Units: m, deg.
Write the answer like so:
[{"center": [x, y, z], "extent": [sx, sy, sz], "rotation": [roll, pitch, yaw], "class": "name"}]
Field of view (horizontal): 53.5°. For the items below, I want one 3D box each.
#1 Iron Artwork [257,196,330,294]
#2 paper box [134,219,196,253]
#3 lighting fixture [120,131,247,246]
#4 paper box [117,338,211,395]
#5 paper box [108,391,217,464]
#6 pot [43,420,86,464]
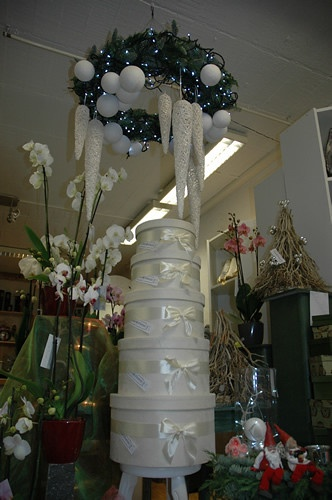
[{"center": [0.559, 0.031, 1.785], "extent": [0.394, 0.608, 0.417], "rotation": [-1, -22, 9], "class": "Iron Artwork"}, {"center": [-0.008, -0.034, 1.082], "extent": [0.211, 0.087, 0.211], "rotation": [6, -8, -35], "class": "paper box"}, {"center": [0.186, -0.510, 2.597], "extent": [0.179, 0.064, 1.144], "rotation": [10, -34, -24], "class": "lighting fixture"}, {"center": [-0.008, 0.344, 0.942], "extent": [0.260, 0.163, 0.270], "rotation": [-11, -25, 24], "class": "paper box"}, {"center": [-0.009, 0.477, 0.895], "extent": [0.268, 0.183, 0.274], "rotation": [-16, -24, 39], "class": "paper box"}, {"center": [-0.225, 0.413, 0.720], "extent": [0.090, 0.080, 0.085], "rotation": [1, -29, 0], "class": "pot"}]
